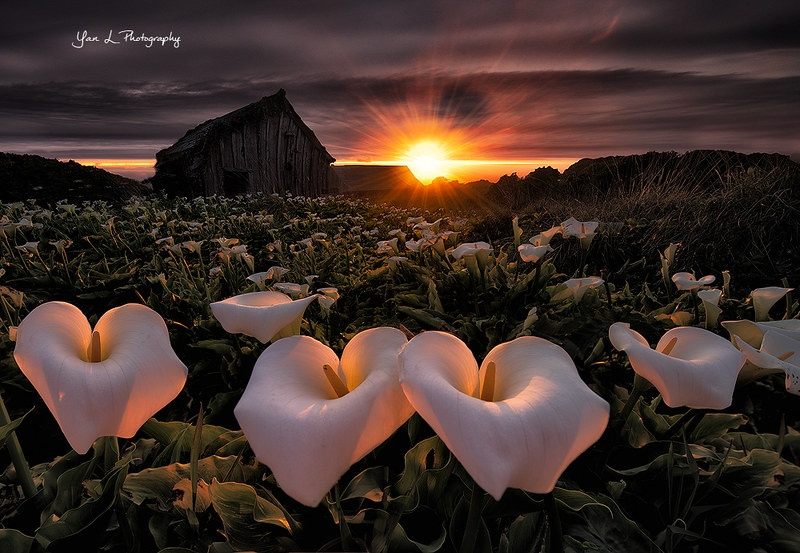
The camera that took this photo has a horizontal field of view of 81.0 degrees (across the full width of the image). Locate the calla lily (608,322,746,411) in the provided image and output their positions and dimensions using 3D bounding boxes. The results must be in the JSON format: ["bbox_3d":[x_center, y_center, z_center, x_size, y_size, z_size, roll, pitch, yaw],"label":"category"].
[{"bbox_3d":[1.356,0.400,2.373,0.592,0.227,0.566,-4,19,-10],"label":"calla lily"}]

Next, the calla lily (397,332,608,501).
[{"bbox_3d":[0.409,0.551,2.000,0.797,0.561,0.511,-2,10,-17],"label":"calla lily"}]

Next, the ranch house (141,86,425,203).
[{"bbox_3d":[-5.493,-5.545,20.830,4.235,4.190,10.725,6,11,32],"label":"ranch house"}]

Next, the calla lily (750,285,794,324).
[{"bbox_3d":[2.842,0.225,3.574,0.201,0.348,0.247,6,31,28],"label":"calla lily"}]

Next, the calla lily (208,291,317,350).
[{"bbox_3d":[-0.695,0.189,2.398,0.360,0.181,0.371,-2,3,-41],"label":"calla lily"}]
